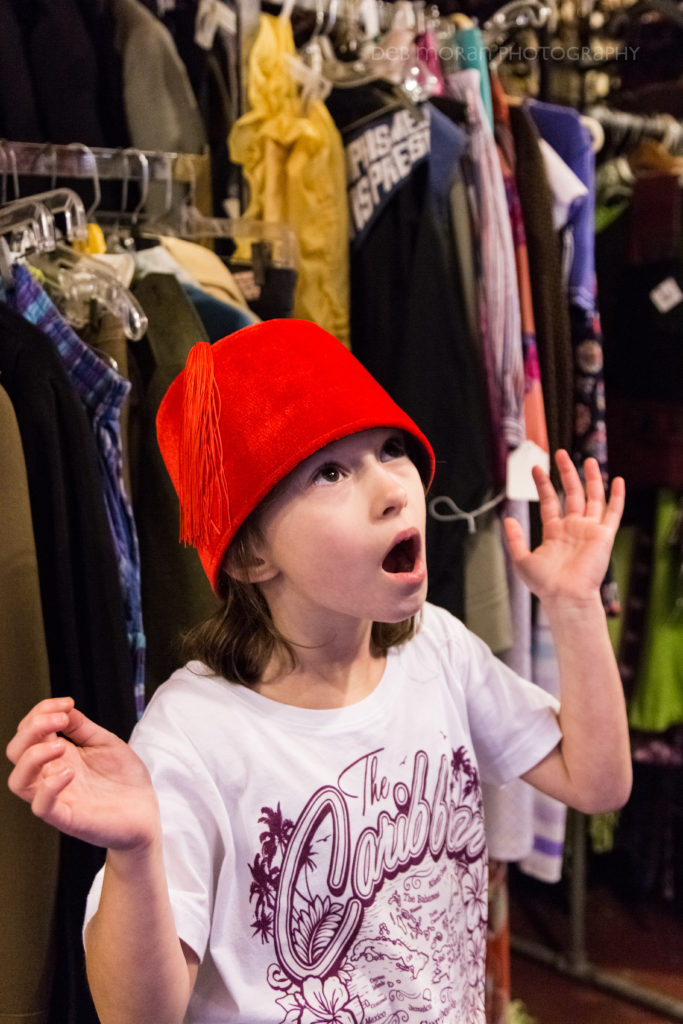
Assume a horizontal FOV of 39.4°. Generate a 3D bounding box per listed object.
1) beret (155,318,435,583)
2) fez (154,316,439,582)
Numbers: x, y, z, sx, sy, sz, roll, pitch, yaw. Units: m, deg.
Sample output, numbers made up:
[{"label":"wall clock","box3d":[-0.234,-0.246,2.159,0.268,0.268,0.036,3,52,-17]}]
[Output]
[{"label":"beret","box3d":[-0.060,-0.045,0.829,0.170,0.164,0.215,-15,-20,-35]},{"label":"fez","box3d":[-0.052,-0.024,0.827,0.169,0.218,0.158,-21,69,-30]}]
